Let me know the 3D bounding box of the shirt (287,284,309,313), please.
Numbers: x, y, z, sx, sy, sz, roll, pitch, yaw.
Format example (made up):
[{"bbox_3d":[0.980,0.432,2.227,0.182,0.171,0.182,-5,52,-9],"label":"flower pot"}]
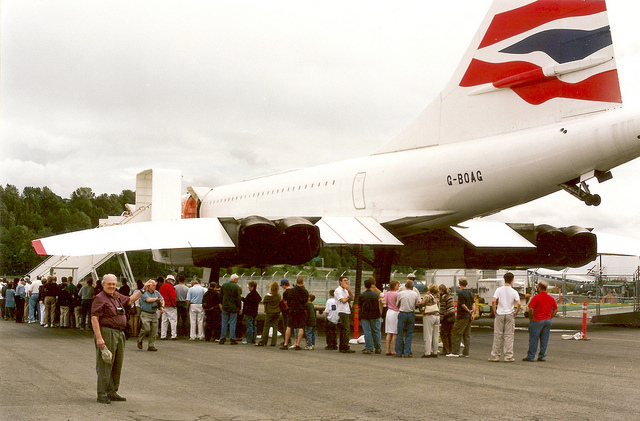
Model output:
[{"bbox_3d":[-0.649,2.374,18.091,0.671,0.808,0.474,3,17,25],"label":"shirt"}]

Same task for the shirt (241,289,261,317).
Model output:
[{"bbox_3d":[-2.002,2.570,18.974,0.660,0.868,0.718,2,-4,6],"label":"shirt"}]

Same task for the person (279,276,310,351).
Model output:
[{"bbox_3d":[-0.666,2.659,17.888,0.630,1.874,0.556,0,-8,7],"label":"person"}]

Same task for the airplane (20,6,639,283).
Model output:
[{"bbox_3d":[1.676,-1.115,20.583,10.937,4.121,13.172,1,-5,-44],"label":"airplane"}]

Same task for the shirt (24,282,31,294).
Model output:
[{"bbox_3d":[-11.193,2.977,26.235,0.377,0.367,0.135,-2,0,43],"label":"shirt"}]

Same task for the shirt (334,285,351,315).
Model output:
[{"bbox_3d":[0.517,2.322,17.629,0.509,0.947,0.846,-3,-7,2],"label":"shirt"}]

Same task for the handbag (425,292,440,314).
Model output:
[{"bbox_3d":[2.740,2.238,16.731,0.393,0.511,0.134,6,-9,-34],"label":"handbag"}]

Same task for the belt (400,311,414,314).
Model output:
[{"bbox_3d":[2.121,2.466,16.708,0.330,0.048,0.102,2,-8,-6],"label":"belt"}]

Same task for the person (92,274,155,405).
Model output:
[{"bbox_3d":[-3.653,2.221,11.967,0.646,2.170,0.443,5,-9,-25],"label":"person"}]

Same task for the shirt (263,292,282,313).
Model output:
[{"bbox_3d":[-1.307,2.501,18.656,0.479,0.557,0.323,2,-8,-6],"label":"shirt"}]

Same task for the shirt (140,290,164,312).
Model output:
[{"bbox_3d":[-4.230,2.267,17.098,0.618,0.640,0.487,6,-9,-33],"label":"shirt"}]

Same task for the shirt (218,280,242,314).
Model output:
[{"bbox_3d":[-2.450,2.425,19.176,0.778,0.891,0.472,1,1,26],"label":"shirt"}]

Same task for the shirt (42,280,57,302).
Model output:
[{"bbox_3d":[-9.135,2.695,23.133,0.745,0.713,0.285,-5,-10,37],"label":"shirt"}]

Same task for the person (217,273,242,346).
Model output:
[{"bbox_3d":[-2.485,2.710,18.942,0.583,1.874,0.550,2,-8,-7],"label":"person"}]

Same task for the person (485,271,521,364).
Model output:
[{"bbox_3d":[4.328,2.490,16.222,0.721,2.077,0.921,-1,-8,14],"label":"person"}]

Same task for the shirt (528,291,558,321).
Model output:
[{"bbox_3d":[5.253,2.257,16.220,0.727,0.701,0.389,3,2,-11],"label":"shirt"}]

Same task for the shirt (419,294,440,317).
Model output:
[{"bbox_3d":[2.669,2.265,16.850,0.571,0.573,0.394,-10,6,5],"label":"shirt"}]

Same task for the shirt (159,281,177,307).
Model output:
[{"bbox_3d":[-4.255,2.344,19.148,0.309,0.580,0.557,-19,20,-26],"label":"shirt"}]

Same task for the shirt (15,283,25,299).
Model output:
[{"bbox_3d":[-11.162,2.986,25.611,0.389,0.709,0.675,0,-3,-27],"label":"shirt"}]

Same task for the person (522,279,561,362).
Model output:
[{"bbox_3d":[5.259,2.603,16.353,0.713,1.845,1.114,-2,-8,20],"label":"person"}]

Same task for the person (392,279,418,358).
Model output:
[{"bbox_3d":[2.100,2.624,16.816,0.623,1.865,0.482,-2,-9,22],"label":"person"}]

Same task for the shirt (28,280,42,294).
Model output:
[{"bbox_3d":[-10.272,2.762,24.793,0.527,0.506,0.298,3,5,-4],"label":"shirt"}]

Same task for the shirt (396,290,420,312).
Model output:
[{"bbox_3d":[2.152,2.164,16.891,0.750,0.676,0.415,-1,-1,9],"label":"shirt"}]

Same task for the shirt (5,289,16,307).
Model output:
[{"bbox_3d":[-11.829,3.315,26.216,0.323,0.663,0.512,5,-9,-24],"label":"shirt"}]

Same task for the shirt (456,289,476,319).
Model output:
[{"bbox_3d":[3.559,2.279,16.873,0.413,0.716,0.260,0,-8,10],"label":"shirt"}]

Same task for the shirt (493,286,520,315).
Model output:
[{"bbox_3d":[4.381,2.126,16.217,0.634,0.649,0.405,3,-10,-1],"label":"shirt"}]

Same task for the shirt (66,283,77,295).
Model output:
[{"bbox_3d":[-8.184,2.571,22.609,0.315,0.366,0.263,5,-9,-27],"label":"shirt"}]

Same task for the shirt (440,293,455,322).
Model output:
[{"bbox_3d":[3.155,2.411,17.012,0.334,0.605,0.560,-9,-18,22],"label":"shirt"}]

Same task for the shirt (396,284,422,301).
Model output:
[{"bbox_3d":[2.259,2.183,17.532,0.658,0.464,0.360,1,0,8],"label":"shirt"}]
